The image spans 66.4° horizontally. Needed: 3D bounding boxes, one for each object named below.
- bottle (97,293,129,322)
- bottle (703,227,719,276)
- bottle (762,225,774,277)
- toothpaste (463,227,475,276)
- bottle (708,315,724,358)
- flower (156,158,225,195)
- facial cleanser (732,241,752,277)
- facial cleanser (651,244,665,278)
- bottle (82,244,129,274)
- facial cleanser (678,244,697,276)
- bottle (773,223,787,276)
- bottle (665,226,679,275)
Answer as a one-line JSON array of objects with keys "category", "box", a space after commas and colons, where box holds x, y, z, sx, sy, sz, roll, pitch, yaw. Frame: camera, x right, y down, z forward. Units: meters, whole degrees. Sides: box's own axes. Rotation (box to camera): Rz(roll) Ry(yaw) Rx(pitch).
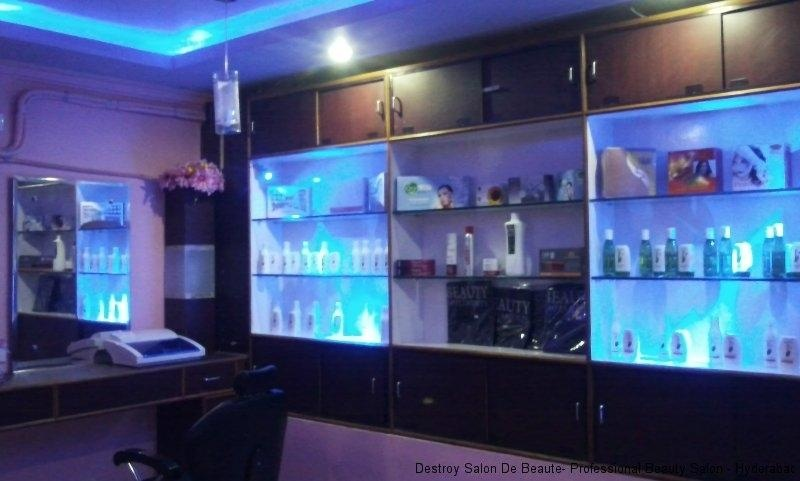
[{"category": "bottle", "box": [-2.624, 0.603, 5.717, 0.341, 0.308, 0.241, 1, 4, -21]}, {"category": "bottle", "box": [2.262, 0.087, 4.456, 0.106, 0.350, 0.178, -3, -4, 26]}, {"category": "bottle", "box": [2.564, 0.080, 4.271, 0.059, 0.354, 0.093, 2, -5, -39]}, {"category": "toothpaste", "box": [0.578, 0.097, 5.192, 0.095, 0.418, 0.086, -1, 1, 15]}, {"category": "bottle", "box": [2.249, 0.696, 4.362, 0.086, 0.296, 0.061, -3, -4, 24]}, {"category": "flower", "box": [-1.973, -0.586, 5.817, 0.419, 0.223, 0.397, -7, 0, 22]}, {"category": "facial cleanser", "box": [2.442, 0.136, 4.341, 0.150, 0.239, 0.065, 0, -4, -13]}, {"category": "facial cleanser", "box": [1.901, 0.150, 4.488, 0.090, 0.229, 0.028, -3, -4, 20]}, {"category": "bottle", "box": [-2.707, 0.168, 5.641, 0.313, 0.216, 0.440, 4, -9, -26]}, {"category": "facial cleanser", "box": [2.102, 0.146, 4.456, 0.152, 0.234, 0.076, 1, -4, -29]}, {"category": "bottle", "box": [2.638, 0.067, 4.245, 0.100, 0.375, 0.043, 0, -4, -15]}, {"category": "bottle", "box": [2.015, 0.087, 4.536, 0.095, 0.358, 0.187, -3, -4, 23]}]
